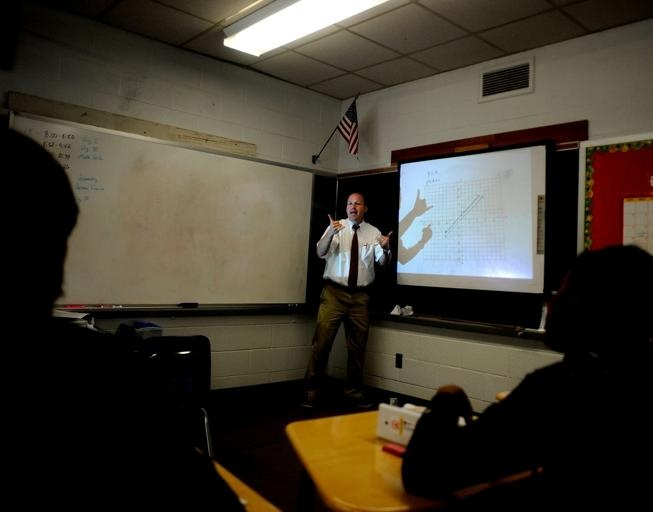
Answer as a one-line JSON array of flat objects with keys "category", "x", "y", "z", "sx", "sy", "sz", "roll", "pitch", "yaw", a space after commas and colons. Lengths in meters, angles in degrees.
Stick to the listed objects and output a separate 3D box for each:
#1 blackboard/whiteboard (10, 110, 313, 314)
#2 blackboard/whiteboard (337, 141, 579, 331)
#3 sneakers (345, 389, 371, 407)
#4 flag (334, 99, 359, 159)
[{"category": "blackboard/whiteboard", "x": -1.049, "y": -0.235, "z": 3.696, "sx": 2.200, "sy": 1.270, "sz": 0.045, "roll": 4, "pitch": -10, "yaw": -37}, {"category": "blackboard/whiteboard", "x": 0.933, "y": -0.106, "z": 3.521, "sx": 0.070, "sy": 1.067, "sz": 1.396, "roll": 4, "pitch": -5, "yaw": -43}, {"category": "sneakers", "x": 0.240, "y": 1.055, "z": 3.757, "sx": 0.191, "sy": 0.087, "sz": 0.277, "roll": 5, "pitch": 3, "yaw": -5}, {"category": "flag", "x": 0.212, "y": -1.100, "z": 4.222, "sx": 0.201, "sy": 0.551, "sz": 0.053, "roll": 12, "pitch": -22, "yaw": -10}]
